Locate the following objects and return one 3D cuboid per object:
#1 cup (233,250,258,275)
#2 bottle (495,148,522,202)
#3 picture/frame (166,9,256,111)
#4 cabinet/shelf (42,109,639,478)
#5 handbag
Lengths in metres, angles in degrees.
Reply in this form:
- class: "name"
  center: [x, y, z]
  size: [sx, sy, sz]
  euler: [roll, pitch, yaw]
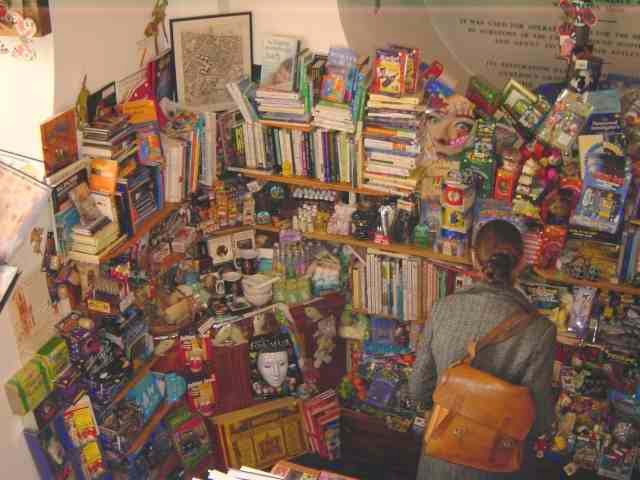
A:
- class: "cup"
  center: [-0.635, 0.209, 5.150]
  size: [0.237, 0.236, 0.161]
  euler: [1, 29, 2]
- class: "bottle"
  center: [1.453, -0.498, 4.386]
  size: [0.197, 0.416, 0.116]
  euler: [5, 9, 19]
- class: "picture/frame"
  center: [-0.920, -1.539, 4.772]
  size: [0.810, 0.959, 0.070]
  euler: [-10, 32, -16]
- class: "cabinet/shelf"
  center: [0.163, 0.339, 4.343]
  size: [2.834, 2.700, 1.035]
  euler: [5, 33, 10]
- class: "handbag"
  center: [0.948, 0.856, 3.261]
  size: [0.689, 0.974, 0.563]
  euler: [17, 25, 24]
